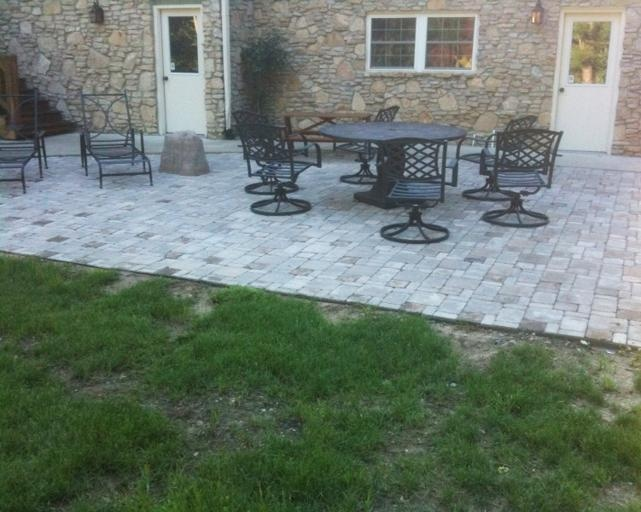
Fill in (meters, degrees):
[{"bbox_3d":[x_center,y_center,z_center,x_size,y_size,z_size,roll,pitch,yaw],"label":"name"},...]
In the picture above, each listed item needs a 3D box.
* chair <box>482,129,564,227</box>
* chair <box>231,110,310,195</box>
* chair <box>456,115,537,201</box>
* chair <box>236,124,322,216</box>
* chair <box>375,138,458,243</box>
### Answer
[{"bbox_3d":[1.981,-0.797,5.816,0.915,0.859,0.744,-11,23,5],"label":"chair"},{"bbox_3d":[-0.600,-1.139,6.589,0.698,0.989,1.498,-4,18,-8],"label":"chair"},{"bbox_3d":[2.425,-1.134,7.381,0.947,0.983,0.852,-4,-5,-13],"label":"chair"},{"bbox_3d":[-0.478,-0.957,6.008,0.867,0.813,0.874,5,12,43],"label":"chair"},{"bbox_3d":[0.934,-0.541,5.630,0.778,0.639,0.677,5,12,15],"label":"chair"}]
